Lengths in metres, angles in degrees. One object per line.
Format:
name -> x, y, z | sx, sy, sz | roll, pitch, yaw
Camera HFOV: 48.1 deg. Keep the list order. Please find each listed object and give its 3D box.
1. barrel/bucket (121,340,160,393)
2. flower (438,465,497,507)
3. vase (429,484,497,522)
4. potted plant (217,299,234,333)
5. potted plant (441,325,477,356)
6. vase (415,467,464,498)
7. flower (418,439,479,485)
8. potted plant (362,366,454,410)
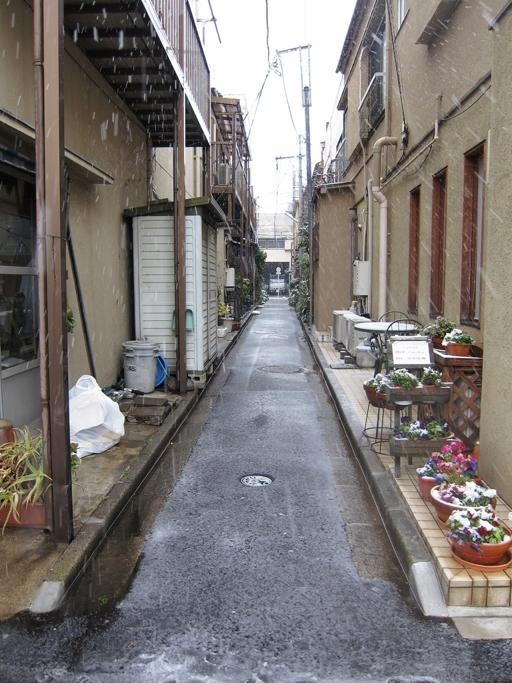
barrel/bucket -> -1.665, 0.321, 8.032 | 0.458, 0.882, 0.567 | 4, 8, 12
flower -> 1.232, 0.907, 3.399 | 0.196, 0.155, 0.254 | 0, -1, -24
vase -> 1.192, 0.943, 3.321 | 0.188, 0.193, 0.243 | -1, -3, -7
potted plant -> -1.054, -0.836, 19.397 | 0.593, 1.541, 1.125 | -1, 6, 1
potted plant -> 1.836, 0.018, 5.252 | 0.258, 0.224, 0.260 | 0, 4, 20
vase -> 1.225, 0.959, 3.908 | 0.160, 0.158, 0.209 | 0, 1, -2
flower -> 1.323, 0.732, 3.857 | 0.228, 0.302, 0.336 | -6, -3, -11
potted plant -> 1.272, 0.402, 4.855 | 0.526, 0.396, 0.766 | -2, 4, -6
